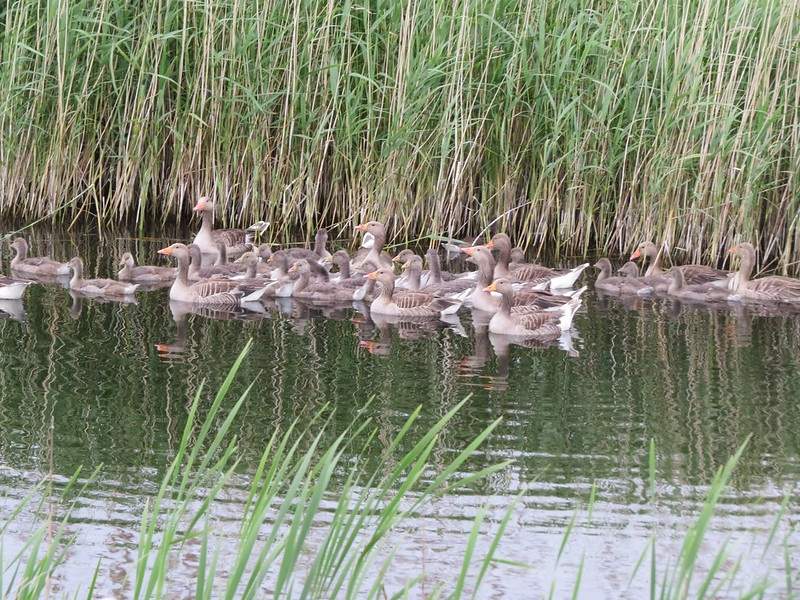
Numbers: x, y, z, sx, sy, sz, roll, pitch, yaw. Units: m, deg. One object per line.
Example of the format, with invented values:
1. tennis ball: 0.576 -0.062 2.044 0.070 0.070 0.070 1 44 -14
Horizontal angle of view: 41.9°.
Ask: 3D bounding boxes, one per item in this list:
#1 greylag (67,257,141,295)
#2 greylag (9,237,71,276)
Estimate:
1. greylag: -4.335 -0.348 15.165 1.027 0.482 0.692 10 17 23
2. greylag: -5.514 -0.682 16.042 0.628 0.611 1.177 -10 20 -40
